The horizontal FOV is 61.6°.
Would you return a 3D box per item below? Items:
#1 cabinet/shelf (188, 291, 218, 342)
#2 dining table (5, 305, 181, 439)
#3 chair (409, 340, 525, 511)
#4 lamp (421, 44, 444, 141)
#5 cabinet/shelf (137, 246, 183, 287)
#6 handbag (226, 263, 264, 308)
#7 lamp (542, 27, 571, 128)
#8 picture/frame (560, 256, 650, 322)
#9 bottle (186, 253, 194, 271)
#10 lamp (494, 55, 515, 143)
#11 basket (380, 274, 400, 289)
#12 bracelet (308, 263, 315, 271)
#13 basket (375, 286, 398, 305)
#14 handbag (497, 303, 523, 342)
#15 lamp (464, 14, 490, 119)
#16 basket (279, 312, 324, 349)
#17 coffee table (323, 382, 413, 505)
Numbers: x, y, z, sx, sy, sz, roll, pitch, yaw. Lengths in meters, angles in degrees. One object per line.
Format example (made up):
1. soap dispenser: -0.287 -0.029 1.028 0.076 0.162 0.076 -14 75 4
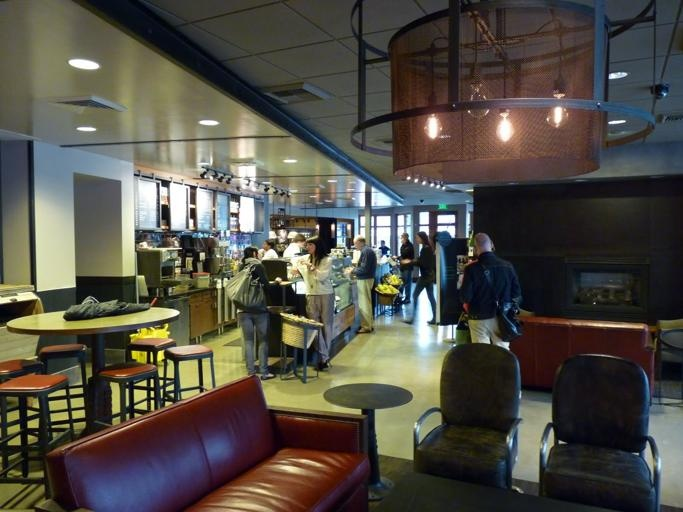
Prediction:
1. cabinet/shelf: -2.244 0.971 9.263 0.470 0.756 0.816 -2 -1 11
2. dining table: -2.362 0.945 5.188 1.198 0.921 1.230 1 1 34
3. chair: 0.969 1.191 4.352 0.753 0.934 0.653 -2 2 19
4. lamp: 0.471 -0.841 2.968 0.106 0.528 0.103 -1 1 -20
5. cabinet/shelf: -2.839 0.152 9.024 0.530 0.679 0.712 0 -2 2
6. handbag: -1.169 0.387 7.054 0.449 0.408 0.260 -3 2 -7
7. lamp: 1.046 -0.880 2.794 0.102 0.478 0.239 -2 2 20
8. picture/frame: 3.447 0.437 7.474 1.008 0.829 0.179 -2 2 19
9. bottle: -2.747 0.115 10.366 0.100 0.246 0.217 -2 2 7
10. lamp: 0.851 -0.834 3.016 0.091 0.476 0.092 3 -11 15
11. basket: 1.011 0.528 11.565 0.284 0.160 0.285 2 -6 -11
12. bracelet: -0.372 0.150 7.317 0.060 0.078 0.026 8 -1 8
13. basket: 0.880 0.753 11.091 0.333 0.363 0.363 -4 2 -37
14. handbag: 1.780 0.694 5.995 0.276 0.406 0.177 -3 2 -24
15. lamp: 0.696 -0.959 2.913 0.108 0.518 0.092 -2 1 5
16. basket: -0.518 0.895 7.221 0.481 0.341 0.420 10 -13 8
17. coffee table: 0.235 1.508 4.824 0.797 0.807 0.773 -2 2 -12
